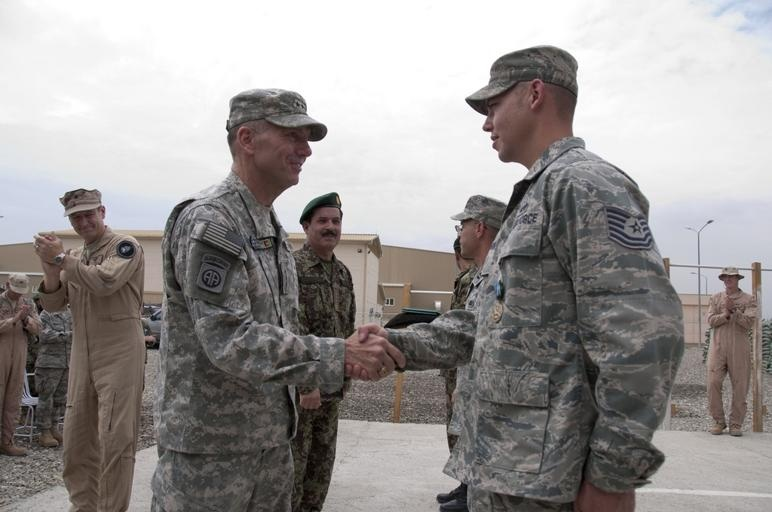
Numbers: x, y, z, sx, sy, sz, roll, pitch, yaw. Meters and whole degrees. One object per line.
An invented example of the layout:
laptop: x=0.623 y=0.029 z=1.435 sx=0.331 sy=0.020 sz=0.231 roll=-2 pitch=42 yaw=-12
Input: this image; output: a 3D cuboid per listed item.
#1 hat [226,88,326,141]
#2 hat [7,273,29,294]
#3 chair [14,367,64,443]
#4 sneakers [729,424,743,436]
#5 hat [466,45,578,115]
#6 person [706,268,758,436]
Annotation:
hat: x=-0.674 y=-0.899 z=4.037 sx=0.659 sy=0.282 sz=0.446 roll=0 pitch=-1 yaw=12
hat: x=-4.833 y=0.361 z=8.419 sx=0.280 sy=0.184 sz=0.369 roll=12 pitch=7 yaw=-42
chair: x=-4.906 y=2.048 z=8.899 sx=0.391 sy=0.614 sz=0.352 roll=21 pitch=-1 yaw=6
sneakers: x=5.161 y=2.564 z=9.391 sx=0.099 sy=0.101 sz=0.255 roll=0 pitch=-4 yaw=16
hat: x=0.809 y=-1.052 z=3.782 sx=0.703 sy=0.311 sz=0.427 roll=0 pitch=-1 yaw=7
person: x=5.380 y=1.420 z=9.882 sx=0.685 sy=2.512 sz=1.039 roll=-1 pitch=-4 yaw=27
